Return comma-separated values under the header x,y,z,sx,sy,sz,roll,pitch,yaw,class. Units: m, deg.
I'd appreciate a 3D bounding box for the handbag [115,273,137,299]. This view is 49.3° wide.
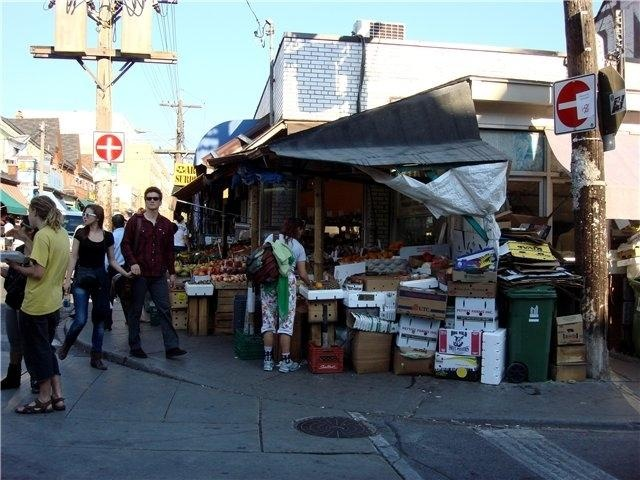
x,y,z,sx,sy,sz,roll,pitch,yaw,class
-3.083,0.722,11.089,0.422,0.524,0.268,2,3,-8,handbag

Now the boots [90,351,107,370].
x,y,z,sx,sy,sz,roll,pitch,yaw,class
-3.391,1.850,10.748,0.157,0.261,0.396,5,-3,-39,boots

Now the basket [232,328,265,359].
x,y,z,sx,sy,sz,roll,pitch,yaw,class
-1.177,1.717,11.576,0.431,0.427,0.436,1,-3,-16,basket

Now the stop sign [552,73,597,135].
x,y,z,sx,sy,sz,roll,pitch,yaw,class
3.936,-2.060,10.686,0.910,1.147,0.086,-3,-5,42,stop sign

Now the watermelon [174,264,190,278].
x,y,z,sx,sy,sz,roll,pitch,yaw,class
-2.918,0.652,14.871,0.230,0.167,0.437,0,1,-7,watermelon

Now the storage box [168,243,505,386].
x,y,z,sx,sy,sz,roll,pitch,yaw,class
1.352,1.083,10.823,3.091,1.939,0.882,3,9,7,storage box

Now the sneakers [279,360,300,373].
x,y,z,sx,sy,sz,roll,pitch,yaw,class
-0.478,1.944,10.841,0.139,0.154,0.331,6,8,37,sneakers

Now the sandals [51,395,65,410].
x,y,z,sx,sy,sz,roll,pitch,yaw,class
-3.363,2.091,8.940,0.171,0.146,0.130,-2,10,-22,sandals

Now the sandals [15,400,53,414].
x,y,z,sx,sy,sz,roll,pitch,yaw,class
-3.619,2.111,8.831,0.349,0.150,0.202,5,-5,-8,sandals

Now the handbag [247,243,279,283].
x,y,z,sx,sy,sz,roll,pitch,yaw,class
-0.877,0.376,10.570,0.459,0.543,0.231,27,6,38,handbag

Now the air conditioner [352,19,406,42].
x,y,z,sx,sy,sz,roll,pitch,yaw,class
1.621,-5.574,18.670,1.378,0.416,0.546,-2,10,-21,air conditioner

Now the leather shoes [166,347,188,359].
x,y,z,sx,sy,sz,roll,pitch,yaw,class
-2.237,1.784,11.049,0.350,0.178,0.150,-4,1,9,leather shoes

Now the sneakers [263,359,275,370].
x,y,z,sx,sy,sz,roll,pitch,yaw,class
-0.796,1.921,10.785,0.138,0.146,0.337,0,-7,1,sneakers
